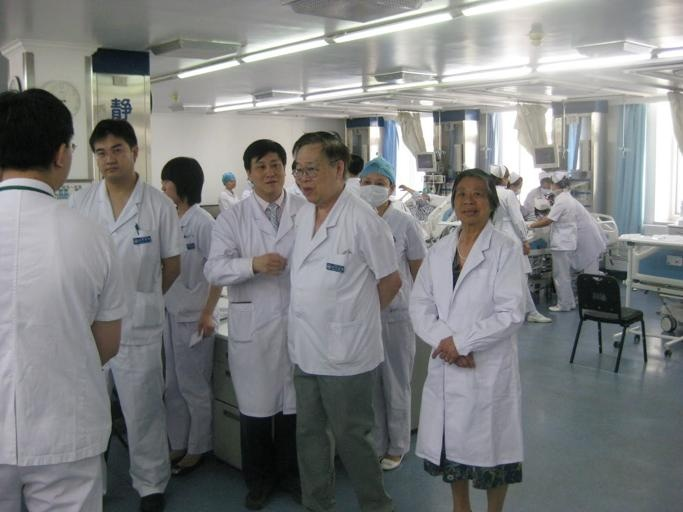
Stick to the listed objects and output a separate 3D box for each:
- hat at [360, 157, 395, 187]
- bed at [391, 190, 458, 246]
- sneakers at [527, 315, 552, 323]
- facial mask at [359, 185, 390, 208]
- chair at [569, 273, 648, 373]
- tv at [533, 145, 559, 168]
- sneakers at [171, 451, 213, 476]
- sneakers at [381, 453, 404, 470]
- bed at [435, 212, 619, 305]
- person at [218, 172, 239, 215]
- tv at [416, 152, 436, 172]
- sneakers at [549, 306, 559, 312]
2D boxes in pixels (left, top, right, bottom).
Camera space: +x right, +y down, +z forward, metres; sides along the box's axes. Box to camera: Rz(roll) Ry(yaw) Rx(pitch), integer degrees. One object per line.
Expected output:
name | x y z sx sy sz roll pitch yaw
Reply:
hat | 0.256 -0.564 3.721 0.169 0.215 0.125 -1 40 1
bed | 1.197 -0.603 8.150 1.418 0.861 0.615 4 7 30
sneakers | 2.430 0.770 6.805 0.309 0.134 0.107 -1 2 18
facial mask | 0.218 -0.385 3.547 0.141 0.121 0.147 2 -1 8
chair | 2.572 0.580 5.302 0.625 0.914 0.716 9 13 43
tv | 3.587 -1.763 9.832 0.530 0.566 0.314 4 13 26
sneakers | -1.002 1.353 3.618 0.080 0.089 0.227 0 1 28
sneakers | 0.333 1.333 3.553 0.077 0.082 0.197 -5 -10 28
bed | 3.151 -0.063 8.242 2.744 1.824 1.341 -2 1 -41
person | -2.141 -1.178 10.684 0.409 0.771 0.469 -1 7 1
tv | 1.898 -2.074 12.223 0.380 0.384 0.216 7 23 32
sneakers | 2.828 0.703 7.305 0.148 0.062 0.052 5 6 26
